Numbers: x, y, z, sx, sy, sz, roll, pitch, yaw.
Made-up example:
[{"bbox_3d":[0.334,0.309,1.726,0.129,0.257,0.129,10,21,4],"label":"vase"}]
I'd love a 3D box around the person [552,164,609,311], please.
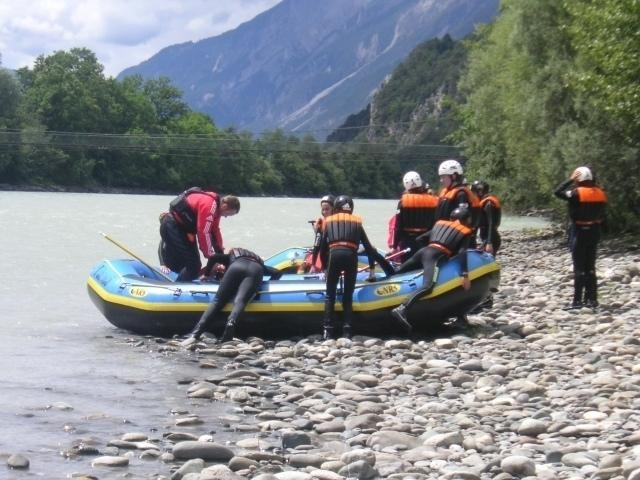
[{"bbox_3d":[5.913,-0.046,22.900,1.017,3.168,0.720,-1,5,11],"label":"person"}]

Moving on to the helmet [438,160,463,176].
[{"bbox_3d":[2.915,-1.594,22.862,0.579,0.337,0.374,6,-2,6],"label":"helmet"}]

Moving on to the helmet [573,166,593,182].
[{"bbox_3d":[5.877,-1.446,22.830,0.350,0.289,0.430,0,-4,-26],"label":"helmet"}]

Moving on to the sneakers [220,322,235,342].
[{"bbox_3d":[-1.966,1.993,21.802,0.202,0.528,0.216,19,29,-12],"label":"sneakers"}]

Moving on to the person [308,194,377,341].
[{"bbox_3d":[0.549,0.585,21.835,1.171,3.026,0.667,-2,5,5],"label":"person"}]

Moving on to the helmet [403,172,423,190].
[{"bbox_3d":[2.098,-1.313,23.198,0.459,0.449,0.463,0,25,-3],"label":"helmet"}]
